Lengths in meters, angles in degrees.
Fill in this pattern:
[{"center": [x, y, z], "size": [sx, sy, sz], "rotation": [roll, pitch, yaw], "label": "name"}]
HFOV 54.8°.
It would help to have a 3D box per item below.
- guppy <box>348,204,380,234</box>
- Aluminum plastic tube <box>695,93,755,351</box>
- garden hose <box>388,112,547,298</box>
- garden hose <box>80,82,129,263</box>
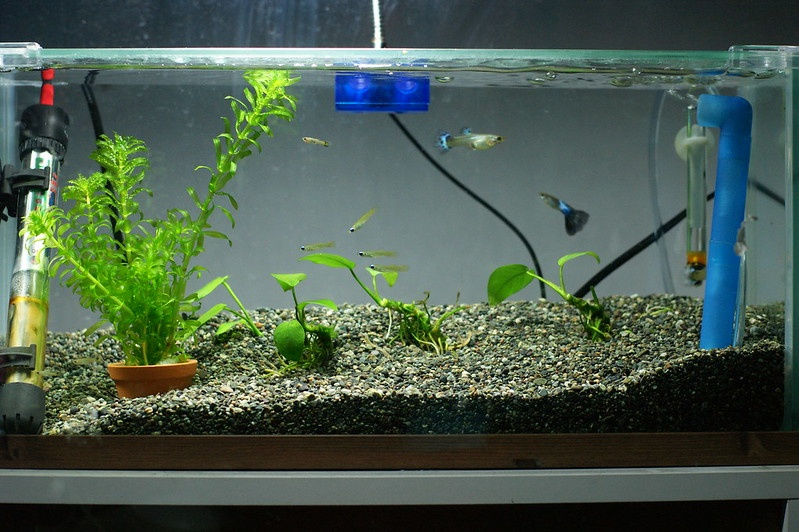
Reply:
[{"center": [-0.119, -0.141, 2.430], "size": [0.136, 0.049, 0.039], "rotation": [-41, 8, -4], "label": "guppy"}, {"center": [0.957, -0.144, 2.362], "size": [0.185, 0.808, 0.113], "rotation": [7, -12, 14], "label": "Aluminum plastic tube"}, {"center": [0.212, -0.219, 2.416], "size": [0.101, 0.729, 0.042], "rotation": [-39, 12, 37], "label": "garden hose"}, {"center": [-0.872, -0.297, 2.295], "size": [0.091, 0.647, 0.054], "rotation": [-3, -7, -28], "label": "garden hose"}]
